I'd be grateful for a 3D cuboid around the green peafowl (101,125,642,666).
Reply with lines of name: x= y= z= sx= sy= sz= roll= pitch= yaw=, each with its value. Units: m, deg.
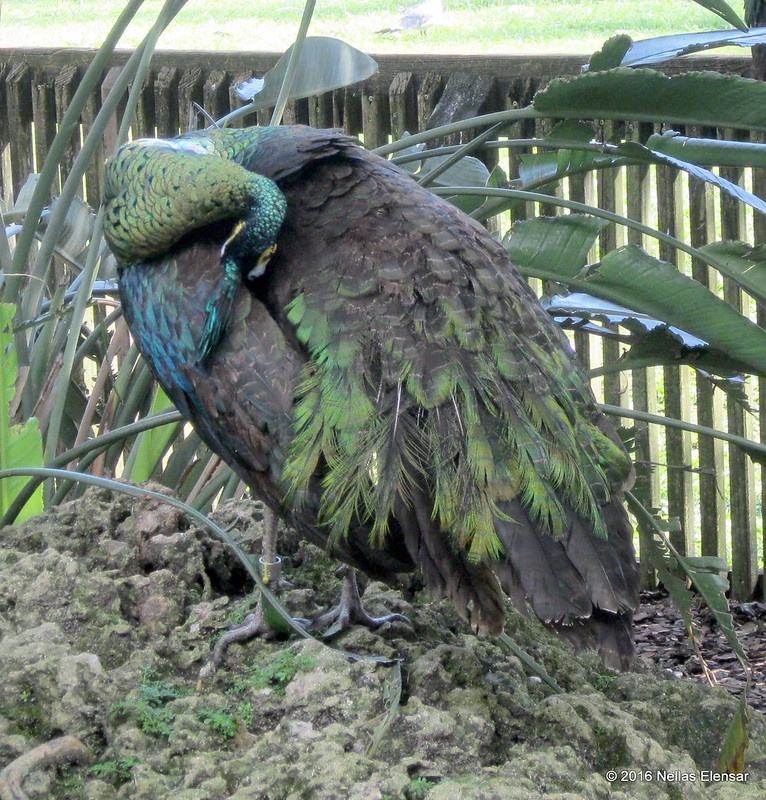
green peafowl: x=-0.141 y=-0.033 z=3.699 sx=1.882 sy=1.300 sz=1.064 roll=18 pitch=25 yaw=38
